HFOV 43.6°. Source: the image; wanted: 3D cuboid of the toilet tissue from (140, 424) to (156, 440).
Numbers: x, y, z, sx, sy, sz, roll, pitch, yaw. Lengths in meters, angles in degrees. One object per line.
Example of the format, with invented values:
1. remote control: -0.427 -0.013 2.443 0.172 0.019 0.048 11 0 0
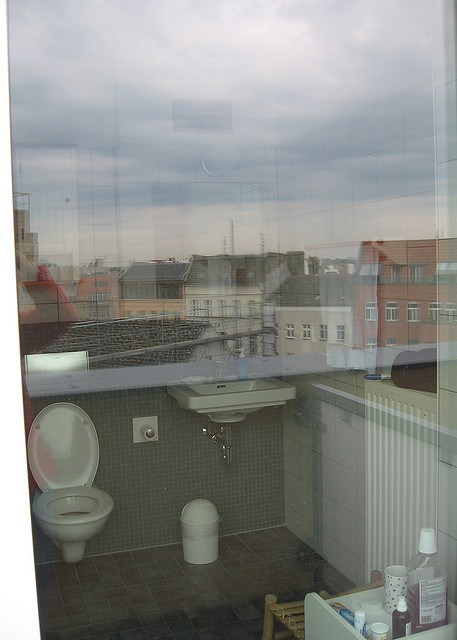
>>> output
1. toilet tissue: -0.184 0.253 1.298 0.037 0.032 0.053 -3 16 -18

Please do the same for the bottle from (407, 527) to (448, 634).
1. bottle: 0.457 0.626 1.319 0.086 0.161 0.097 -3 6 18
